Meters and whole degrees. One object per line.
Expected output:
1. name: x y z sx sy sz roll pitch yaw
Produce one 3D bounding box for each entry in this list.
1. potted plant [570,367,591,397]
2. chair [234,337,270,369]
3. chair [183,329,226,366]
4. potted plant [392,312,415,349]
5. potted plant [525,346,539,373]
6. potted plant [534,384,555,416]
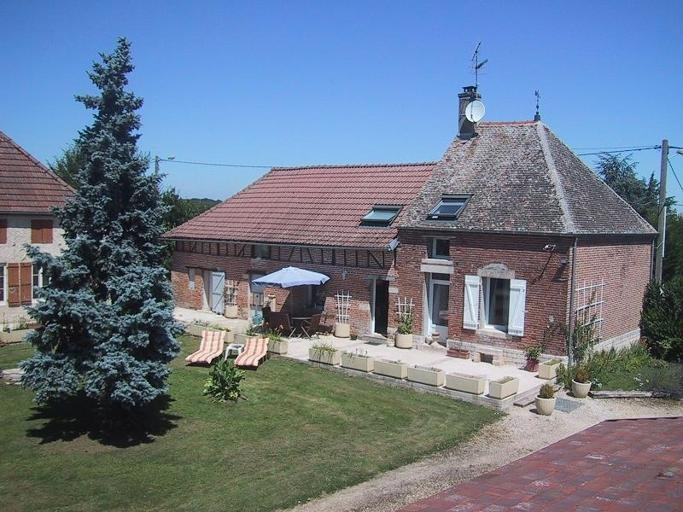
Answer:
1. potted plant: 8.129 4.321 20.529 0.577 0.918 0.540 5 13 17
2. chair: -3.413 3.771 23.190 0.826 0.624 1.192 0 8 11
3. chair: -5.125 3.606 23.173 0.954 0.813 1.529 0 5 18
4. potted plant: 2.697 3.193 25.728 0.804 1.454 0.650 4 13 14
5. potted plant: 7.090 3.835 22.376 0.517 0.858 0.460 4 13 13
6. potted plant: 6.414 4.550 19.084 0.550 0.864 0.602 9 14 30
